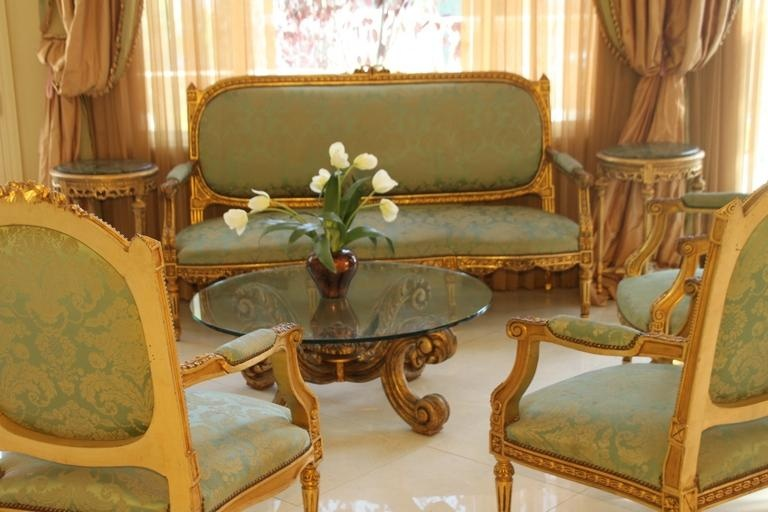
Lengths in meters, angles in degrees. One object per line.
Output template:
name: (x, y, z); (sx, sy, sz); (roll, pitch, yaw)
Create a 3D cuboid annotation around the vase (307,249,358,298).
vase: (-0.235, 0.061, 3.004); (0.207, 0.191, 0.217); (-5, 11, -5)
